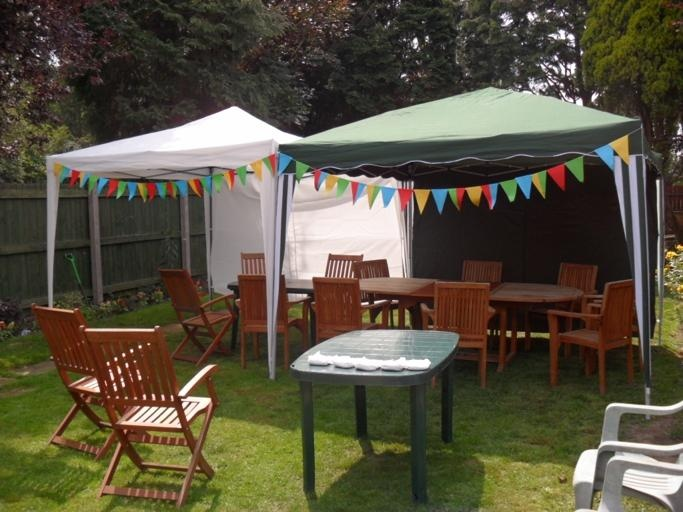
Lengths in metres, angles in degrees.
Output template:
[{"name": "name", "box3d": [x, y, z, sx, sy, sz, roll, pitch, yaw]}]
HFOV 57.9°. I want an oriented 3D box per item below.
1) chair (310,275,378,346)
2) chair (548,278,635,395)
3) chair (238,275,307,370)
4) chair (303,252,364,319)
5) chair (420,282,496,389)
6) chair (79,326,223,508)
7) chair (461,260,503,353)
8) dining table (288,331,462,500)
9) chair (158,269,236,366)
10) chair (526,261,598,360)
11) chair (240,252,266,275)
[{"name": "chair", "box3d": [-0.046, 0.598, 6.800, 0.523, 0.982, 0.637, 1, 5, 22]}, {"name": "chair", "box3d": [2.706, 0.858, 6.726, 0.860, 1.183, 0.948, -2, 3, -5]}, {"name": "chair", "box3d": [-0.819, 0.744, 7.515, 0.850, 1.176, 0.902, -3, 10, -15]}, {"name": "chair", "box3d": [-0.032, 0.446, 8.267, 0.570, 1.048, 0.702, 4, -9, -4]}, {"name": "chair", "box3d": [1.305, 0.856, 6.922, 0.969, 1.602, 0.960, 1, 3, 12]}, {"name": "chair", "box3d": [-1.537, 1.181, 4.955, 0.881, 1.416, 0.685, 4, 12, 22]}, {"name": "chair", "box3d": [2.008, 0.657, 8.324, 0.728, 1.175, 0.776, 3, 2, -16]}, {"name": "dining table", "box3d": [0.339, 1.342, 5.467, 1.226, 1.125, 1.989, -1, 4, 13]}, {"name": "chair", "box3d": [-1.760, 0.750, 7.755, 0.659, 1.192, 0.920, 0, 5, 25]}, {"name": "chair", "box3d": [2.813, 0.680, 7.906, 0.745, 1.213, 0.735, 0, 4, -21]}, {"name": "chair", "box3d": [-1.306, 0.097, 9.360, 0.324, 0.553, 0.348, 0, 2, -8]}]
